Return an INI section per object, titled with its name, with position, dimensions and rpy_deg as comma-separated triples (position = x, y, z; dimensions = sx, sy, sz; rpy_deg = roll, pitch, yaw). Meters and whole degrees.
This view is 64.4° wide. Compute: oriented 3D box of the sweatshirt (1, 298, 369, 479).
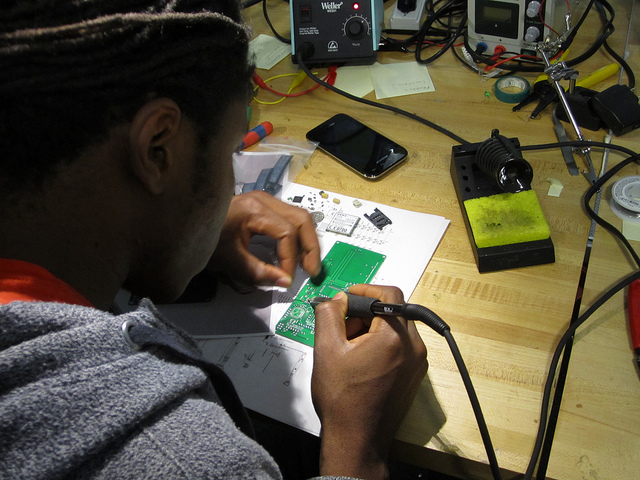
[sweatshirt]
position = -0.242, 0.248, 0.721
dimensions = 0.301, 0.378, 0.282
rpy_deg = -18, 46, -16

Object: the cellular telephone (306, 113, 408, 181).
[cellular telephone]
position = 0.096, -0.250, 1.343
dimensions = 0.269, 0.039, 0.137
rpy_deg = 35, 56, 30
